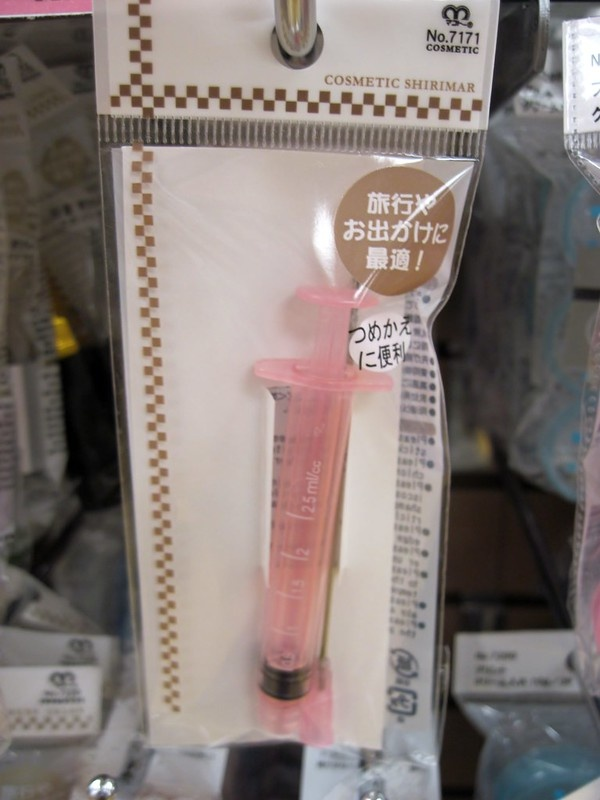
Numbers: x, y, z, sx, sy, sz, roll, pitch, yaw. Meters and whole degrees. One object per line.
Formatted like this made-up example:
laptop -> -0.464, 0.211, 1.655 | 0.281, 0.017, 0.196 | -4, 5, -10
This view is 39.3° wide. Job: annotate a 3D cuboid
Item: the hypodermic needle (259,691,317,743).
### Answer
hypodermic needle -> -0.009, 0.186, 0.501 | 0.030, 0.030, 0.032 | 1, 4, -13
